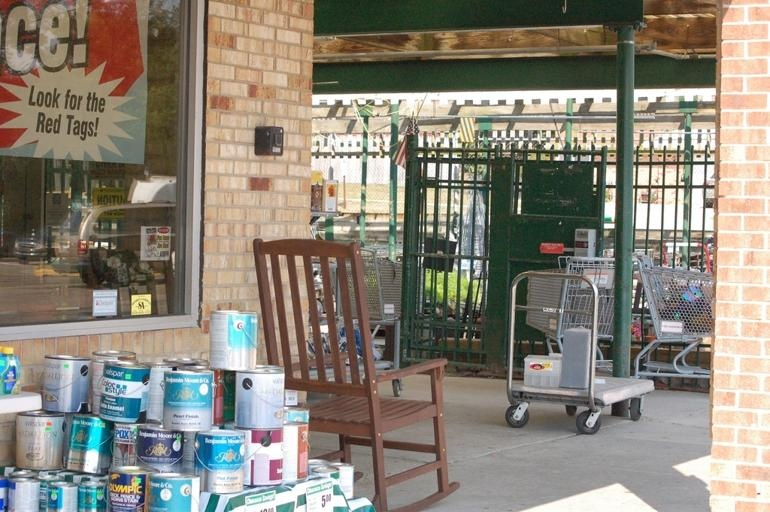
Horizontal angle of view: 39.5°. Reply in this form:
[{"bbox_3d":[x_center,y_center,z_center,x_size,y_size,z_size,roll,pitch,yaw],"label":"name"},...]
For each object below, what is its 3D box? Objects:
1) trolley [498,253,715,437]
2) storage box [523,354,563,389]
[{"bbox_3d":[2.245,0.840,11.124,1.410,1.540,2.399,1,2,32],"label":"trolley"},{"bbox_3d":[1.499,1.107,10.225,0.295,0.301,0.303,1,2,23],"label":"storage box"}]
